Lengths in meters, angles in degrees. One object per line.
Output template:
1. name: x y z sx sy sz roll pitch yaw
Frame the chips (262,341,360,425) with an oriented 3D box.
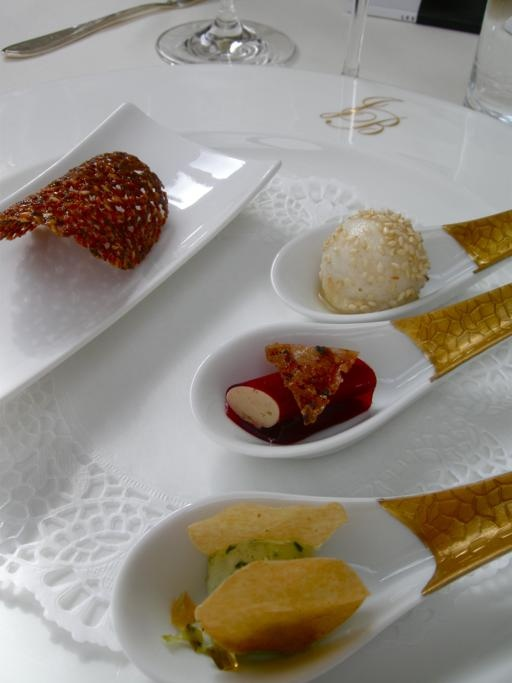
1. chips: 0.088 0.049 0.872 0.123 0.067 0.117 -16 40 -32
